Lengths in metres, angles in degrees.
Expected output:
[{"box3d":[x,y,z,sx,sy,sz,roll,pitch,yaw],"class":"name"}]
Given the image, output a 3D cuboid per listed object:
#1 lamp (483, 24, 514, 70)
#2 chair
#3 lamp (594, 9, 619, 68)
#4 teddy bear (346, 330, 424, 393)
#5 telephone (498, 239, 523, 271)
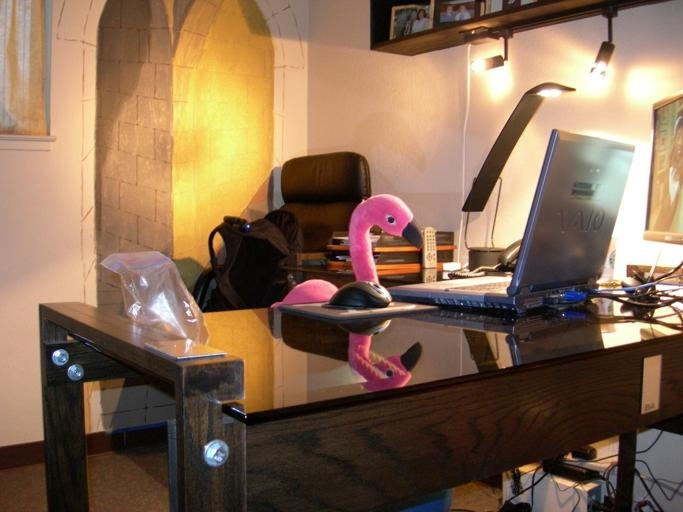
[{"box3d":[0.743,-0.978,2.801,0.125,0.179,0.176,3,11,17],"class":"lamp"},{"box3d":[-0.112,-0.310,3.676,0.499,0.735,0.582,1,-3,19],"class":"chair"},{"box3d":[1.106,-0.914,2.472,0.086,0.337,0.067,7,-33,26],"class":"lamp"},{"box3d":[0.070,0.195,0.975,0.070,0.058,0.103,-7,-11,-37],"class":"teddy bear"},{"box3d":[0.573,0.001,2.019,0.037,0.119,0.071,36,-17,-19],"class":"telephone"}]
